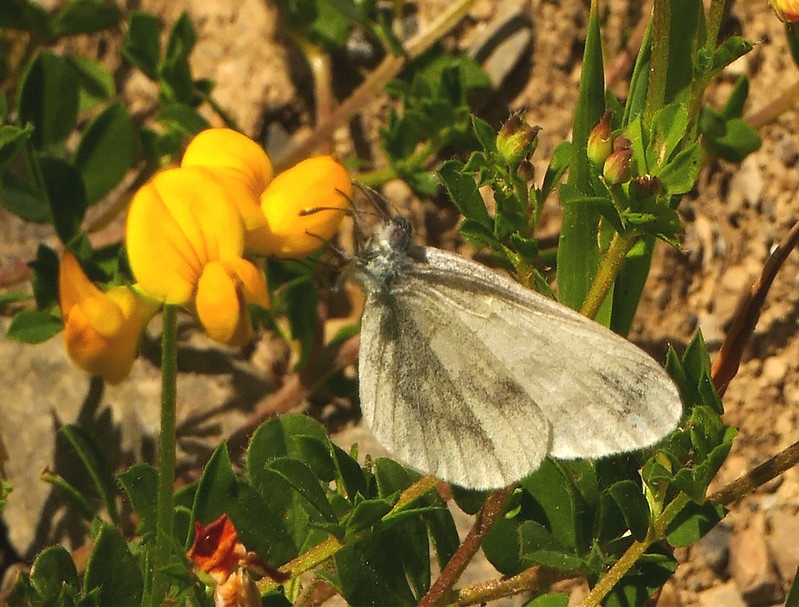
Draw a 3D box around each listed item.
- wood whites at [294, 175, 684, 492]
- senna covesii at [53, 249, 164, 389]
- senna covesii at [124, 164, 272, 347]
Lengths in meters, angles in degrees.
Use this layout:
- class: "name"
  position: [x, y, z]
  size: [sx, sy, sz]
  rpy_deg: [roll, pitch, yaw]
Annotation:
- class: "wood whites"
  position: [0.239, 0.157, 3.146]
  size: [0.769, 0.868, 0.947]
  rpy_deg: [-5, 3, -16]
- class: "senna covesii"
  position: [-0.711, 0.003, 3.004]
  size: [0.235, 0.316, 0.225]
  rpy_deg: [-8, 25, -23]
- class: "senna covesii"
  position: [-0.459, -0.106, 2.823]
  size: [0.349, 0.363, 0.113]
  rpy_deg: [16, 11, 2]
